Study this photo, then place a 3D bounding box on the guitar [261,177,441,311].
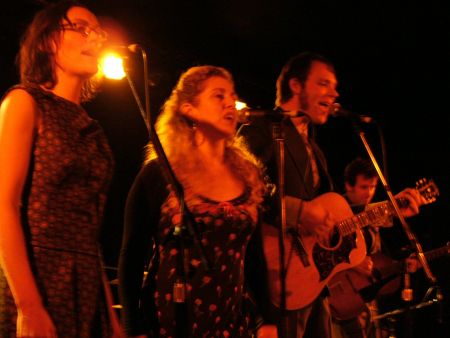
[{"bbox_3d":[0.927,0.591,4.356,1.573,1.161,0.320,17,-34,-28],"label":"guitar"}]
